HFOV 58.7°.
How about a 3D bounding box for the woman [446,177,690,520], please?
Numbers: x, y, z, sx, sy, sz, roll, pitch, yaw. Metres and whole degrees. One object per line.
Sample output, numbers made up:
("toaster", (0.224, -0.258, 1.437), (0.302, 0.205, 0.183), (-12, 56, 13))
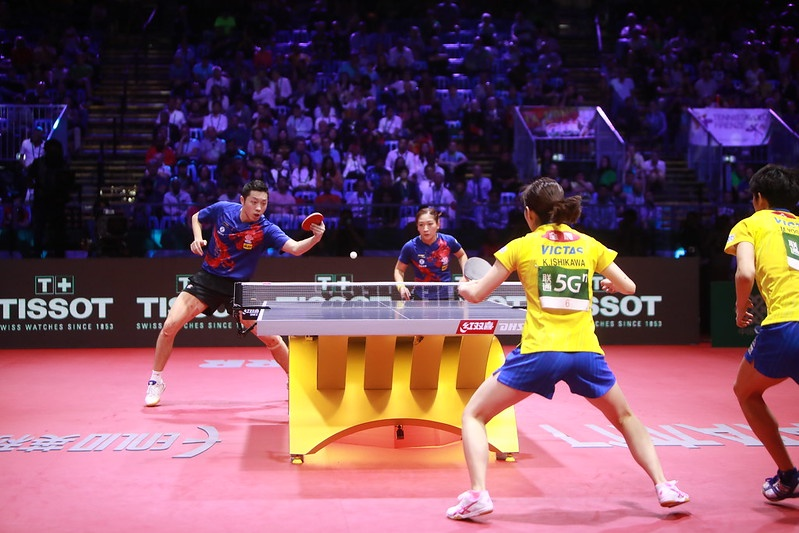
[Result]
("woman", (1.172, 0.794, 5.443), (1.619, 2.288, 0.501), (0, 6, -3))

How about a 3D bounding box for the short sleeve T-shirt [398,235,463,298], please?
("short sleeve T-shirt", (0.355, 0.012, 8.567), (0.896, 0.858, 0.353), (-2, 7, -8))

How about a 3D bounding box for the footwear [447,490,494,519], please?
("footwear", (0.472, 1.819, 5.388), (0.434, 0.207, 0.166), (-15, -4, 30))

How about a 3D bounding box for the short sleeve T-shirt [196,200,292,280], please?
("short sleeve T-shirt", (-1.835, -0.220, 8.069), (1.157, 0.839, 0.594), (22, 7, 3))

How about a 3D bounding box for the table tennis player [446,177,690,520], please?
("table tennis player", (1.172, 0.794, 5.443), (1.617, 2.288, 0.501), (0, 6, -3))

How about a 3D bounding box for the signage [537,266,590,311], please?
("signage", (1.220, 0.176, 5.388), (0.325, 0.264, 0.032), (1, -6, -7))

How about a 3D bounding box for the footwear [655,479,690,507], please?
("footwear", (2.092, 1.725, 5.417), (0.350, 0.163, 0.127), (5, -7, -44))
